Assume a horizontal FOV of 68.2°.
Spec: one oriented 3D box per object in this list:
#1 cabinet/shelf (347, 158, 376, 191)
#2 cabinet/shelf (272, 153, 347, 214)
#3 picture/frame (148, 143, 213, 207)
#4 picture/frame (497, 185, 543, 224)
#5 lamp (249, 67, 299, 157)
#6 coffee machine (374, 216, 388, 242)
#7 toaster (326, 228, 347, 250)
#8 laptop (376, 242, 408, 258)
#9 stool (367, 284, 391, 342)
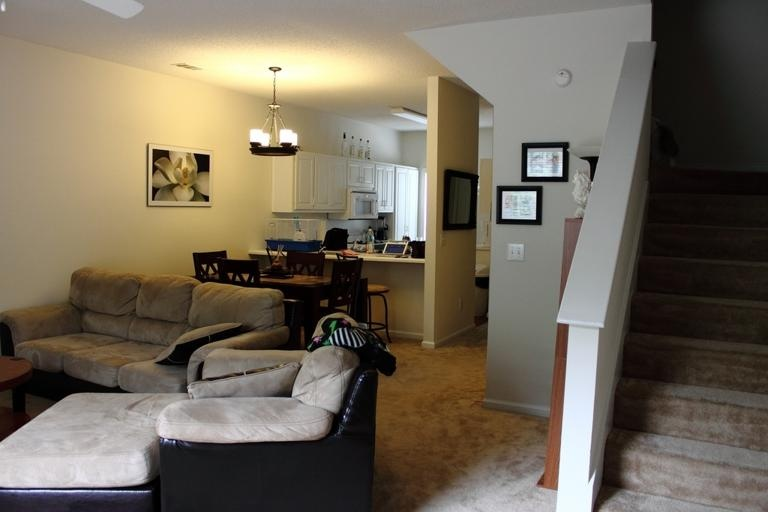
[{"bbox_3d":[-0.403,-1.383,9.591,0.228,0.550,0.606,0,2,31],"label":"cabinet/shelf"},{"bbox_3d":[-1.086,-1.141,8.835,0.419,0.870,1.352,6,7,31],"label":"cabinet/shelf"},{"bbox_3d":[-2.583,-1.023,7.077,0.032,0.720,0.831,1,1,40],"label":"picture/frame"},{"bbox_3d":[1.260,-0.474,5.197,0.338,0.316,0.023,2,2,23],"label":"picture/frame"},{"bbox_3d":[-1.345,-1.786,6.878,0.633,1.019,0.663,3,13,1],"label":"lamp"},{"bbox_3d":[-0.040,-0.522,10.627,0.361,0.577,0.388,-1,9,-6],"label":"coffee machine"},{"bbox_3d":[-0.753,-0.268,8.671,0.216,0.302,0.553,6,8,39],"label":"toaster"},{"bbox_3d":[0.162,-0.108,7.664,0.364,0.167,0.314,1,6,0],"label":"laptop"},{"bbox_3d":[-0.055,0.714,7.310,0.312,0.715,0.675,1,6,0],"label":"stool"}]
